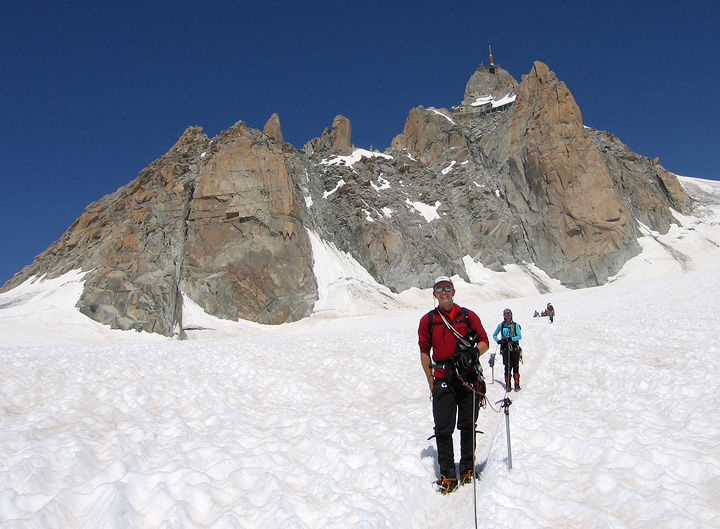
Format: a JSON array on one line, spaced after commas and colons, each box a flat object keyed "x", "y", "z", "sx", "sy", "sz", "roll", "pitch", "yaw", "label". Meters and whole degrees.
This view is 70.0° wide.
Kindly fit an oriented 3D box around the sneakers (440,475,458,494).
[{"x": 1.494, "y": 3.794, "z": 8.824, "sx": 0.225, "sy": 0.122, "sz": 0.328, "roll": 6, "pitch": 30, "yaw": 17, "label": "sneakers"}]

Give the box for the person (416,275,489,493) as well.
[{"x": 1.648, "y": 2.079, "z": 9.051, "sx": 1.171, "sy": 3.738, "sz": 0.599, "roll": -2, "pitch": -3, "yaw": 8, "label": "person"}]

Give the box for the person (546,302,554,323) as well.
[{"x": 9.908, "y": 2.481, "z": 26.739, "sx": 0.224, "sy": 0.872, "sz": 2.114, "roll": -2, "pitch": -3, "yaw": 17, "label": "person"}]
